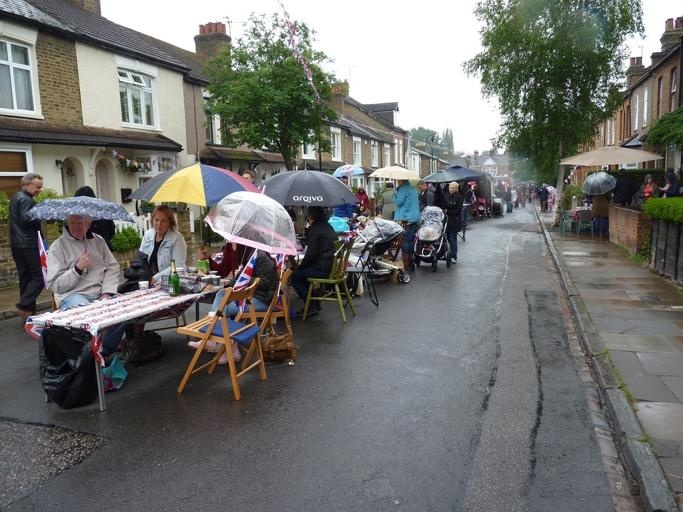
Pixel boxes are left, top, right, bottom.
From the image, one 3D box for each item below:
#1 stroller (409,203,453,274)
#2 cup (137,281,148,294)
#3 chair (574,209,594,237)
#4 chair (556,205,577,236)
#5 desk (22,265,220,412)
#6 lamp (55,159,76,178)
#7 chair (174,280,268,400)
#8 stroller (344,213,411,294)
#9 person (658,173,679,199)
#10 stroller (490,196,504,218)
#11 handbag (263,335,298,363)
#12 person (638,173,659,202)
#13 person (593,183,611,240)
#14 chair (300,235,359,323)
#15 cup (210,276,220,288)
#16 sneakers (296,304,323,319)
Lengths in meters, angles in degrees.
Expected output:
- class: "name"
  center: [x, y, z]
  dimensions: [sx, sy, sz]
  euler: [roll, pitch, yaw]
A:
- class: "stroller"
  center: [2.355, -0.516, 13.581]
  dimensions: [0.882, 1.728, 1.176]
  euler: [1, 4, 34]
- class: "cup"
  center: [-2.685, 0.408, 6.862]
  dimensions: [0.122, 0.116, 0.140]
  euler: [2, -3, 23]
- class: "chair"
  center: [9.810, -1.395, 20.590]
  dimensions: [0.804, 1.472, 1.057]
  euler: [4, 24, 27]
- class: "chair"
  center: [9.708, -1.550, 21.809]
  dimensions: [0.657, 1.018, 2.425]
  euler: [7, 12, 24]
- class: "desk"
  center: [-2.774, 1.033, 6.276]
  dimensions: [1.081, 1.000, 1.780]
  euler: [8, 13, 30]
- class: "lamp"
  center: [-9.370, -2.972, 17.304]
  dimensions: [0.547, 0.928, 0.305]
  euler: [-5, 15, -15]
- class: "chair"
  center: [-1.487, 0.982, 6.374]
  dimensions: [0.911, 1.349, 0.889]
  euler: [3, 6, 22]
- class: "stroller"
  center: [0.866, 0.026, 11.510]
  dimensions: [1.350, 1.517, 0.934]
  euler: [-5, -8, 4]
- class: "person"
  center: [12.166, -2.619, 18.752]
  dimensions: [0.602, 0.887, 2.229]
  euler: [8, 13, 31]
- class: "stroller"
  center: [10.745, -3.323, 35.121]
  dimensions: [0.795, 1.271, 1.468]
  euler: [5, 12, 16]
- class: "handbag"
  center: [-0.846, 1.240, 6.803]
  dimensions: [0.397, 0.439, 0.311]
  euler: [0, 2, -6]
- class: "person"
  center: [11.140, -2.443, 18.325]
  dimensions: [0.535, 0.883, 2.182]
  euler: [8, 13, 31]
- class: "person"
  center: [9.486, -1.502, 18.564]
  dimensions: [0.622, 1.713, 1.432]
  euler: [7, 12, 27]
- class: "chair"
  center: [-0.240, 0.345, 9.229]
  dimensions: [0.880, 1.438, 0.834]
  euler: [5, 7, 35]
- class: "cup"
  center: [-1.728, 0.339, 6.867]
  dimensions: [0.133, 0.148, 0.122]
  euler: [2, 7, 0]
- class: "sneakers"
  center: [-0.609, 1.023, 9.329]
  dimensions: [0.182, 0.256, 0.548]
  euler: [-5, -7, 44]
